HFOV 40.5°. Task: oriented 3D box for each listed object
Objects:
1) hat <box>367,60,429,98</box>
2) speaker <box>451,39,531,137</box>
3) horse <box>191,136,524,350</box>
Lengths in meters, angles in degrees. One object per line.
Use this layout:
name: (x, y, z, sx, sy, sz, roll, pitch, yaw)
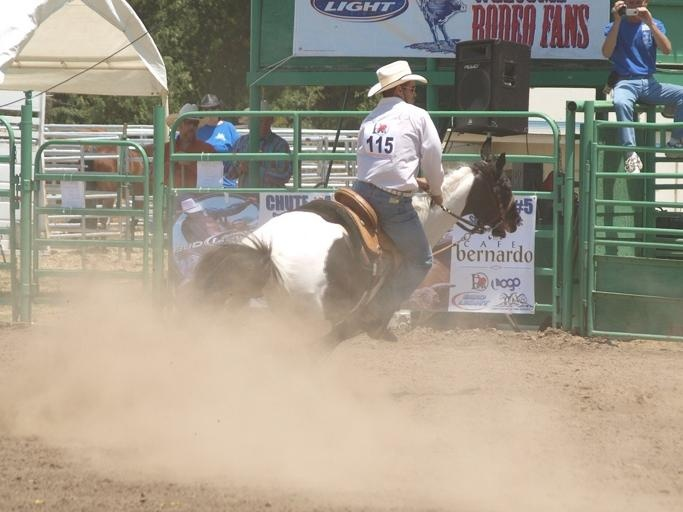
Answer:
hat: (0.519, -1.675, 8.644, 0.501, 0.244, 0.434, -25, 8, 6)
speaker: (1.826, -2.018, 11.084, 0.911, 1.119, 0.847, 4, 11, 9)
horse: (0.157, 0.004, 8.473, 3.032, 1.638, 0.596, -4, 12, -29)
